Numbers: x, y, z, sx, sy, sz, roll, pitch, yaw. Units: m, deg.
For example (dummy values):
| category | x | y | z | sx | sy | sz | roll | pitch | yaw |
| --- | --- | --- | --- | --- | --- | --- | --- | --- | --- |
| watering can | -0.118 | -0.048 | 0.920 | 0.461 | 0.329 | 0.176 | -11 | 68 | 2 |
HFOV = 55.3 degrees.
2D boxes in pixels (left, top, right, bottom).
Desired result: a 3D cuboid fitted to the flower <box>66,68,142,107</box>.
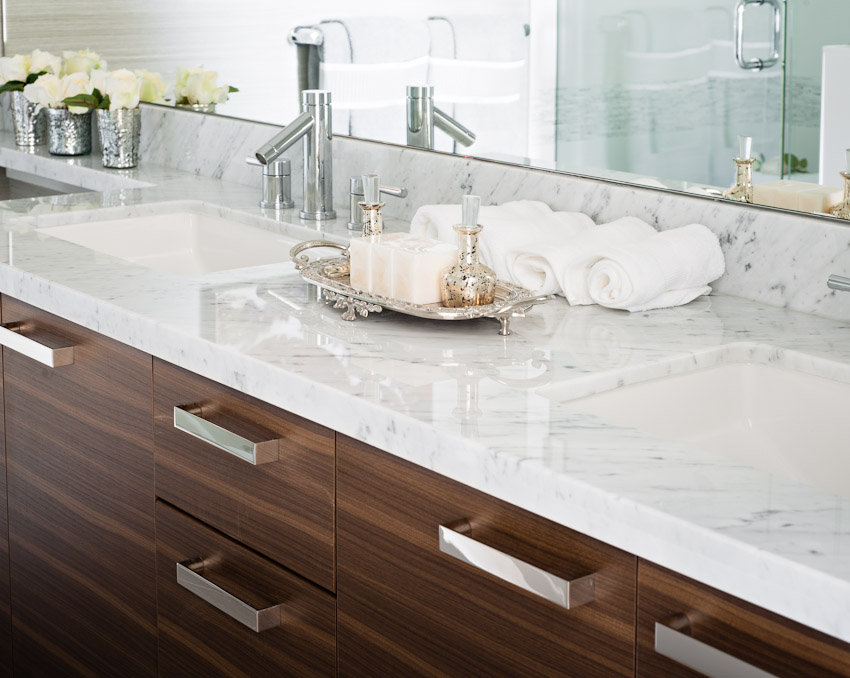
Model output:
| category | x | y | z | sx | sy | sz | roll | pitch | yaw |
| --- | --- | --- | --- | --- | --- | --- | --- | --- | --- |
| flower | -0.862 | -0.684 | 2.237 | 0.231 | 0.108 | 0.179 | 14 | 20 | 40 |

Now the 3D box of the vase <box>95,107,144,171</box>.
| category | x | y | z | sx | sy | sz | roll | pitch | yaw |
| --- | --- | --- | --- | --- | --- | --- | --- | --- | --- |
| vase | -0.828 | -0.548 | 2.219 | 0.110 | 0.163 | 0.163 | -4 | 18 | -16 |

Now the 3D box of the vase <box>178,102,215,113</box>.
| category | x | y | z | sx | sy | sz | roll | pitch | yaw |
| --- | --- | --- | --- | --- | --- | --- | --- | --- | --- |
| vase | -0.604 | -0.614 | 2.156 | 0.074 | 0.051 | 0.059 | 1 | 11 | 6 |

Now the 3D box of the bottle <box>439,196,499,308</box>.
| category | x | y | z | sx | sy | sz | roll | pitch | yaw |
| --- | --- | --- | --- | --- | --- | --- | --- | --- | --- |
| bottle | 0.046 | -0.119 | 1.105 | 0.079 | 0.143 | 0.076 | 2 | 22 | -1 |

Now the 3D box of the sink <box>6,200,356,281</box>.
| category | x | y | z | sx | sy | sz | roll | pitch | yaw |
| --- | --- | --- | --- | --- | --- | --- | --- | --- | --- |
| sink | -0.556 | -0.184 | 1.652 | 0.467 | 0.154 | 0.368 | -8 | 17 | -32 |

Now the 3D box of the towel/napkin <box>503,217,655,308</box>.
| category | x | y | z | sx | sy | sz | roll | pitch | yaw |
| --- | --- | --- | --- | --- | --- | --- | --- | --- | --- |
| towel/napkin | 0.218 | -0.125 | 1.204 | 0.180 | 0.045 | 0.169 | -19 | 25 | -37 |

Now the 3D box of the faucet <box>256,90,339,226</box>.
| category | x | y | z | sx | sy | sz | roll | pitch | yaw |
| --- | --- | --- | --- | --- | --- | --- | --- | --- | --- |
| faucet | -0.252 | -0.378 | 1.686 | 0.126 | 0.263 | 0.240 | 5 | 17 | 10 |

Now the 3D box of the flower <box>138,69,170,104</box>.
| category | x | y | z | sx | sy | sz | roll | pitch | yaw |
| --- | --- | --- | --- | --- | --- | --- | --- | --- | --- |
| flower | -0.761 | -0.698 | 2.284 | 0.130 | 0.063 | 0.119 | -5 | 11 | -33 |

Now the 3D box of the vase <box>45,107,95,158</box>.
| category | x | y | z | sx | sy | sz | roll | pitch | yaw |
| --- | --- | --- | --- | --- | --- | --- | --- | --- | --- |
| vase | -1.008 | -0.585 | 2.303 | 0.174 | 0.131 | 0.145 | -5 | 13 | -16 |
